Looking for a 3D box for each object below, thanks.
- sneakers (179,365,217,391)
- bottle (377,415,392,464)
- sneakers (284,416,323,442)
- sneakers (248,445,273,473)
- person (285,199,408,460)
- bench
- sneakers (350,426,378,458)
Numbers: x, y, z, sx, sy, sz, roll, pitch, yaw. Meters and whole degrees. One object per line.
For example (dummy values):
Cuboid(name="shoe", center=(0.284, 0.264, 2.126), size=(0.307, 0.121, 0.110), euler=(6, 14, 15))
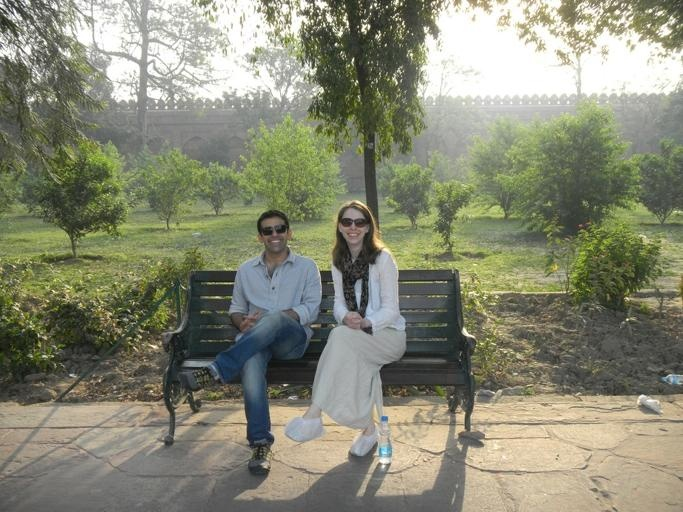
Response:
Cuboid(name="sneakers", center=(-1.231, 1.029, 4.993), size=(0.302, 0.234, 0.107), euler=(-24, 38, -18))
Cuboid(name="bottle", center=(0.374, 1.544, 5.079), size=(0.127, 0.373, 0.347), euler=(0, 10, 5))
Cuboid(name="sneakers", center=(-0.316, 1.429, 4.862), size=(0.258, 0.111, 0.195), euler=(-14, 52, -4))
Cuboid(name="sneakers", center=(-0.681, 1.680, 4.872), size=(0.195, 0.202, 0.171), euler=(-2, 10, -8))
Cuboid(name="person", center=(0.113, 0.516, 5.092), size=(0.821, 1.904, 0.984), euler=(2, 10, 13))
Cuboid(name="bench", center=(0.022, 0.894, 5.746), size=(3.497, 1.926, 1.325), euler=(-1, 9, 5))
Cuboid(name="sneakers", center=(0.208, 1.621, 5.151), size=(0.140, 0.126, 0.321), euler=(6, 37, 42))
